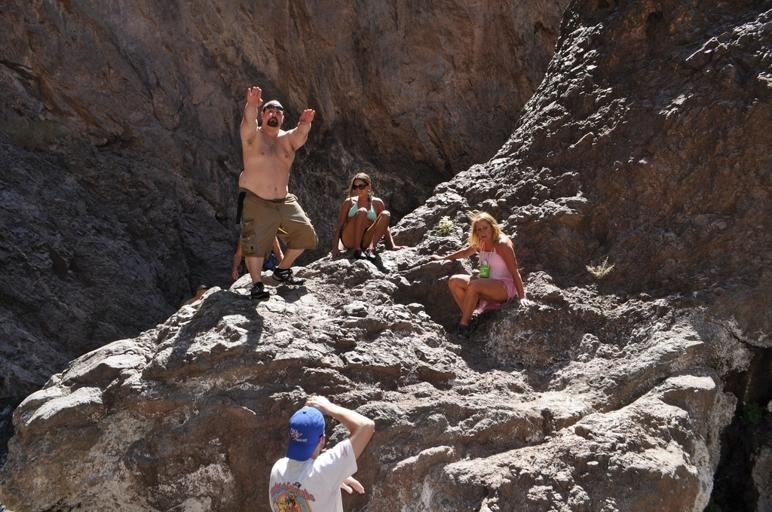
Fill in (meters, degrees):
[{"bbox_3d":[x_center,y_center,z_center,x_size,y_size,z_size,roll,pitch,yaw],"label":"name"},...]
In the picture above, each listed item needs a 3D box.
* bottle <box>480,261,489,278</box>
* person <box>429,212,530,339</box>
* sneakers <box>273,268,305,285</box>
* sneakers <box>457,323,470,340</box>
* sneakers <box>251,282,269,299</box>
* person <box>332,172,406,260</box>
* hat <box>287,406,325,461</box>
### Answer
[{"bbox_3d":[1.052,0.150,9.157,0.142,0.195,0.059,-1,-9,7],"label":"bottle"},{"bbox_3d":[1.062,0.131,9.196,0.820,1.046,0.752,-6,26,4],"label":"person"},{"bbox_3d":[-1.067,0.207,9.223,0.366,0.196,0.151,5,10,-3],"label":"sneakers"},{"bbox_3d":[0.808,0.811,9.116,0.123,0.141,0.126,-4,30,-14],"label":"sneakers"},{"bbox_3d":[-1.328,0.371,8.801,0.200,0.152,0.169,-13,27,-11],"label":"sneakers"},{"bbox_3d":[-0.260,-0.455,9.855,0.763,1.097,0.700,6,-10,-36],"label":"person"},{"bbox_3d":[-0.660,1.420,7.048,0.248,0.223,0.435,7,49,10],"label":"hat"}]
